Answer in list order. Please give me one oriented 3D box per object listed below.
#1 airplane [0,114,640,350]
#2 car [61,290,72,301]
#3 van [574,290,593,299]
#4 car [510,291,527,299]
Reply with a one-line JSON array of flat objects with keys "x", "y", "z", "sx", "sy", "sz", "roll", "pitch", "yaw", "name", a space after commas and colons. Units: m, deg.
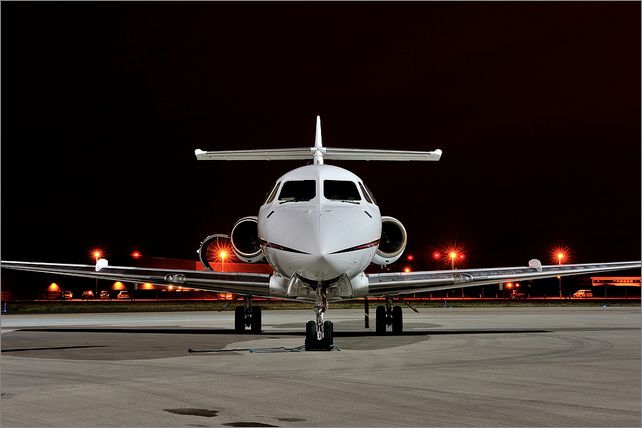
[{"x": -0.260, "y": 0.056, "z": 15.900, "sx": 12.433, "sy": 6.619, "sz": 6.713, "roll": -1, "pitch": -10, "yaw": 9, "name": "airplane"}, {"x": -27.812, "y": 9.036, "z": 67.437, "sx": 1.023, "sy": 0.804, "sz": 1.668, "roll": 0, "pitch": -16, "yaw": -14, "name": "car"}, {"x": 30.511, "y": 9.454, "z": 71.849, "sx": 1.332, "sy": 1.122, "sz": 2.335, "roll": 2, "pitch": 0, "yaw": -27, "name": "van"}, {"x": 23.686, "y": 9.780, "z": 74.010, "sx": 1.999, "sy": 0.991, "sz": 1.451, "roll": 5, "pitch": -10, "yaw": -17, "name": "car"}]
